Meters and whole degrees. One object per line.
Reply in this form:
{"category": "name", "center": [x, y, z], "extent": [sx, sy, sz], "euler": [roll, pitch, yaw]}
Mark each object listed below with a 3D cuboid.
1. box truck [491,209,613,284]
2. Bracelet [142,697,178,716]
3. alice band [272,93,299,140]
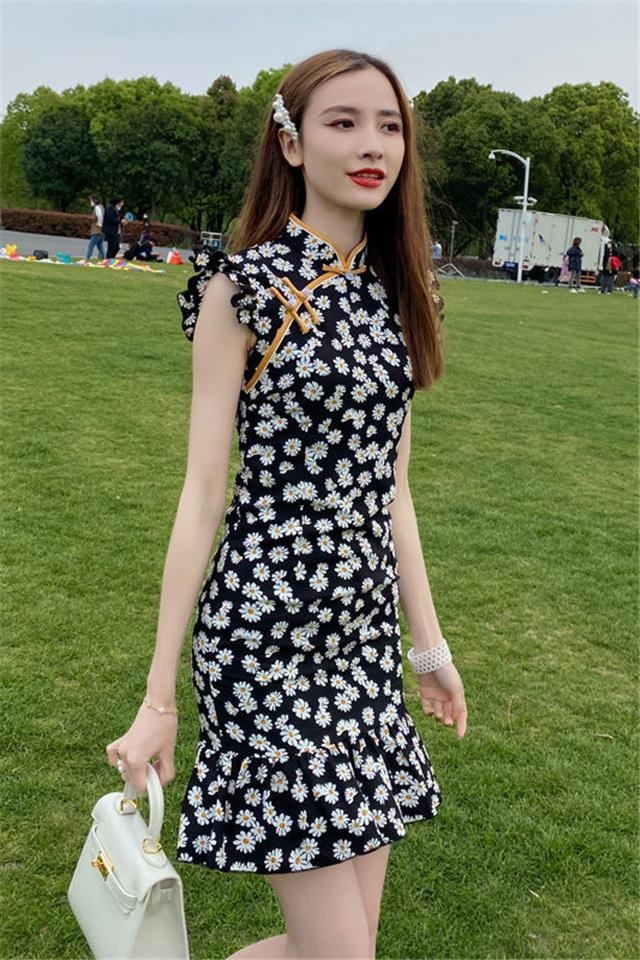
{"category": "box truck", "center": [11.193, -11.012, 38.338], "extent": [6.066, 3.071, 2.923], "euler": [-4, 17, -27]}
{"category": "Bracelet", "center": [-0.258, 0.358, 1.294], "extent": [0.047, 0.017, 0.035], "euler": [9, -4, 7]}
{"category": "alice band", "center": [-0.067, -0.680, 1.495], "extent": [0.034, 0.106, 0.042], "euler": [-11, 4, 6]}
